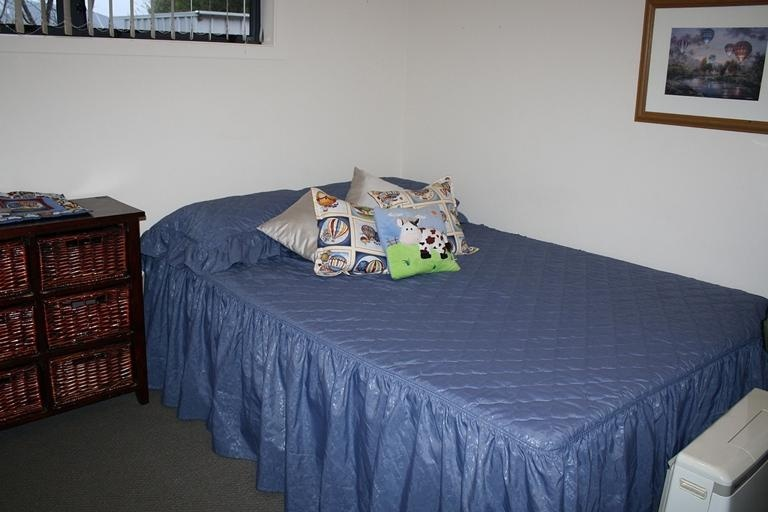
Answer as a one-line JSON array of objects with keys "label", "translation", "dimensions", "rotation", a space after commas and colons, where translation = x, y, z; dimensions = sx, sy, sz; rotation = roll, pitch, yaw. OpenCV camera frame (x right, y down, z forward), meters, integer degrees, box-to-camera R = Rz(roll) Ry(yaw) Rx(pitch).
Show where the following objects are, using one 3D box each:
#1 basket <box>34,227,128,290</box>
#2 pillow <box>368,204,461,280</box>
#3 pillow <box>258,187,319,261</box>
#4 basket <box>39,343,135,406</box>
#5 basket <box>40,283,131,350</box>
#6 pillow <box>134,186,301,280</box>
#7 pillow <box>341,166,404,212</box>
[{"label": "basket", "translation": [-1.561, 0.018, 2.752], "dimensions": [0.346, 0.203, 0.334], "rotation": [-12, 22, -16]}, {"label": "pillow", "translation": [0.171, -0.074, 2.995], "dimensions": [0.457, 0.132, 0.415], "rotation": [-10, 67, -30]}, {"label": "pillow", "translation": [-0.496, -0.156, 3.106], "dimensions": [0.411, 0.125, 0.390], "rotation": [31, 55, 27]}, {"label": "basket", "translation": [-1.572, 0.633, 2.868], "dimensions": [0.325, 0.192, 0.322], "rotation": [-12, 15, -44]}, {"label": "basket", "translation": [-1.572, 0.277, 2.843], "dimensions": [0.329, 0.200, 0.323], "rotation": [-14, 22, -35]}, {"label": "pillow", "translation": [-0.883, -0.162, 3.104], "dimensions": [0.683, 0.179, 0.462], "rotation": [-20, 32, -37]}, {"label": "pillow", "translation": [-0.094, -0.422, 3.348], "dimensions": [0.305, 0.093, 0.311], "rotation": [-8, 31, -17]}]
